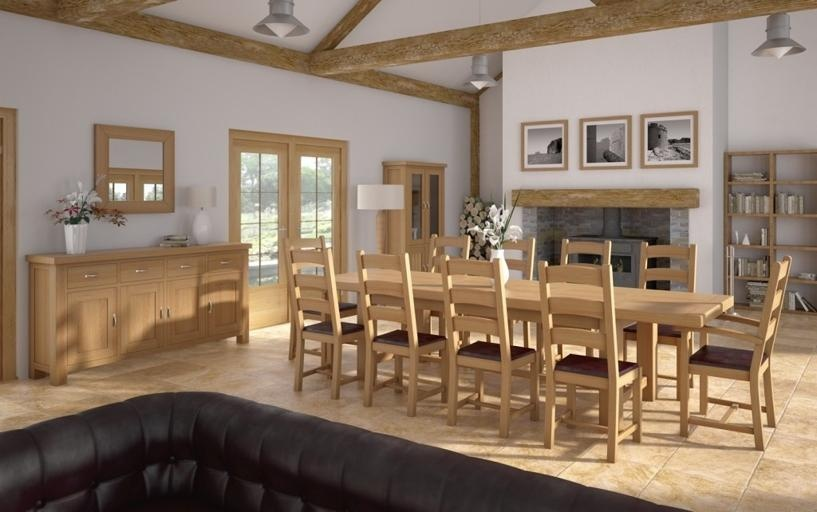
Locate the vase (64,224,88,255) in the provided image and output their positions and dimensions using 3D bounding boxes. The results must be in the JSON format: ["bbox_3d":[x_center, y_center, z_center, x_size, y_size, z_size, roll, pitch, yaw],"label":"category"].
[{"bbox_3d":[-3.580,-0.186,6.113,0.227,0.319,0.266,-6,14,-23],"label":"vase"}]

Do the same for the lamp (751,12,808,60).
[{"bbox_3d":[4.536,-2.601,6.874,0.471,0.469,1.467,8,13,32],"label":"lamp"}]

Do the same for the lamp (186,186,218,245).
[{"bbox_3d":[-2.616,-0.535,7.254,0.365,0.720,0.423,-5,14,-18],"label":"lamp"}]

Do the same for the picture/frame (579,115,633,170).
[{"bbox_3d":[3.225,-1.829,9.097,1.171,0.836,0.075,5,6,27],"label":"picture/frame"}]

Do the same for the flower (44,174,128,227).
[{"bbox_3d":[-3.571,-0.590,6.396,0.629,0.274,0.590,-1,-2,33],"label":"flower"}]
